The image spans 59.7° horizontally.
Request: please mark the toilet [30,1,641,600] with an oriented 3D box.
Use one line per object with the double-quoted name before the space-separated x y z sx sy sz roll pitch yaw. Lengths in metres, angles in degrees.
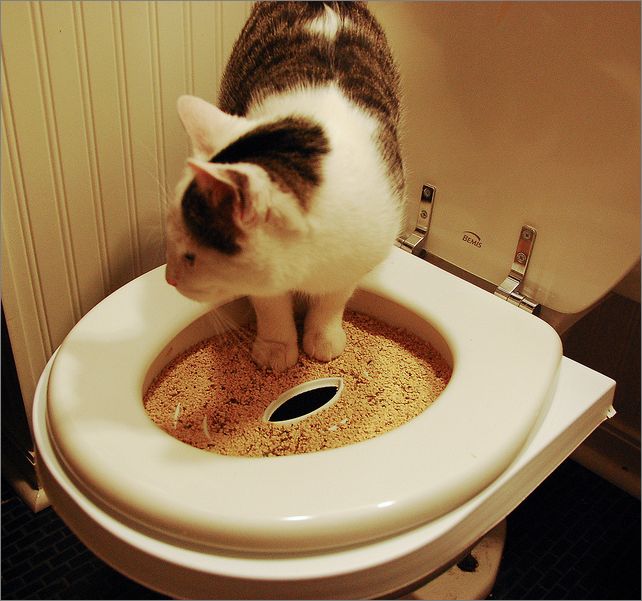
"toilet" 0.008 -0.024 0.735 0.408 0.640 0.493 32 54 26
